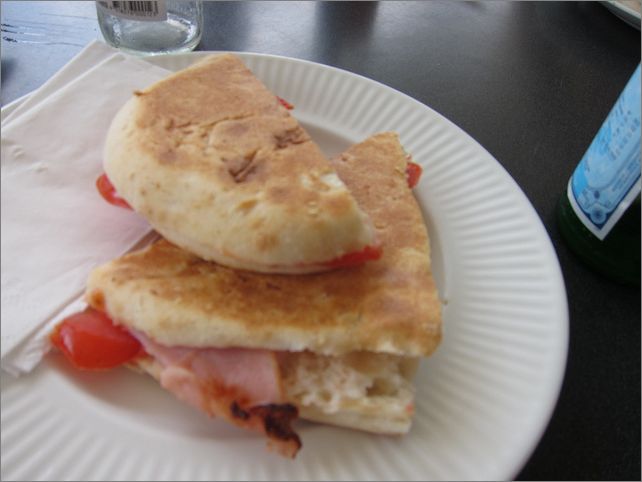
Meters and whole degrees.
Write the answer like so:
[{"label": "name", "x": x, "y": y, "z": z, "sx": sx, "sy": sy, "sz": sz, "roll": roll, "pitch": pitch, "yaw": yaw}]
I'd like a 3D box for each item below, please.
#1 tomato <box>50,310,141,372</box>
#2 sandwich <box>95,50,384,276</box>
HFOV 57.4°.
[{"label": "tomato", "x": -0.515, "y": 0.231, "z": 1.343, "sx": 0.139, "sy": 0.045, "sz": 0.149, "roll": 13, "pitch": 56, "yaw": -2}, {"label": "sandwich", "x": -0.208, "y": -0.160, "z": 1.374, "sx": 0.425, "sy": 0.181, "sz": 0.747, "roll": -26, "pitch": 64, "yaw": -20}]
